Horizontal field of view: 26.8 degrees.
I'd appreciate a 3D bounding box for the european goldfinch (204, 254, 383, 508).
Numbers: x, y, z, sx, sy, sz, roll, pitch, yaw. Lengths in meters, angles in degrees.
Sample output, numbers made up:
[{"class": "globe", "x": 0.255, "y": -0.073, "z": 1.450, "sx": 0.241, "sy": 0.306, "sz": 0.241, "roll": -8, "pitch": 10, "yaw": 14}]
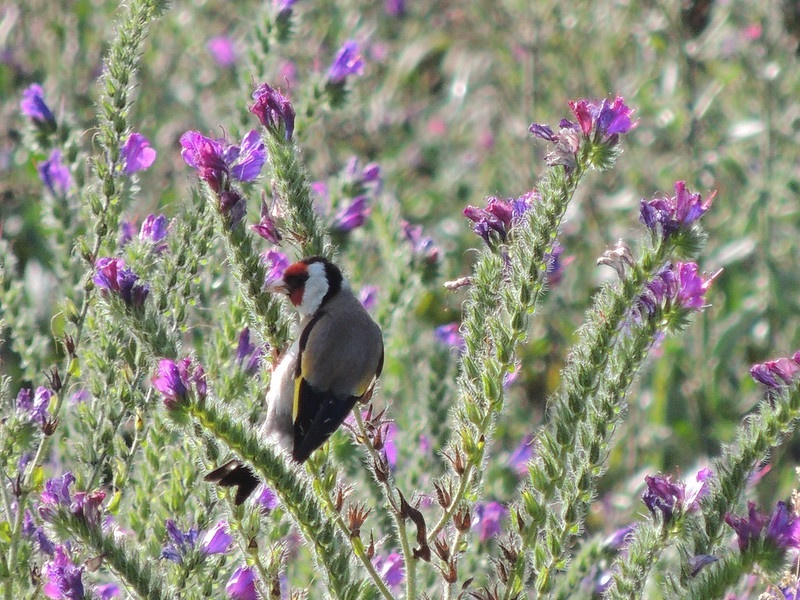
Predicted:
[{"class": "european goldfinch", "x": -0.325, "y": 0.242, "z": 7.013, "sx": 0.509, "sy": 0.830, "sz": 0.792, "roll": 13, "pitch": 20, "yaw": 0}]
